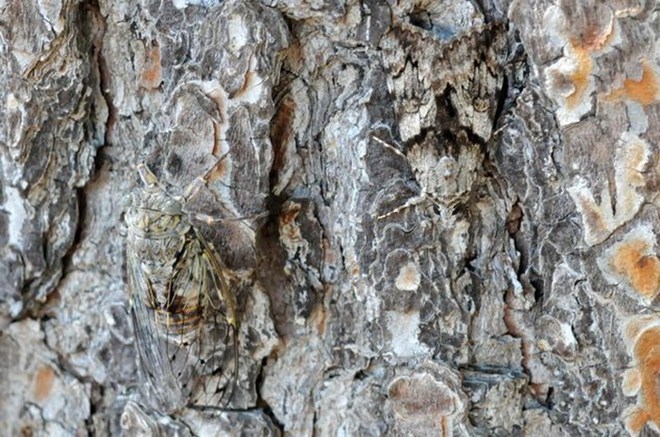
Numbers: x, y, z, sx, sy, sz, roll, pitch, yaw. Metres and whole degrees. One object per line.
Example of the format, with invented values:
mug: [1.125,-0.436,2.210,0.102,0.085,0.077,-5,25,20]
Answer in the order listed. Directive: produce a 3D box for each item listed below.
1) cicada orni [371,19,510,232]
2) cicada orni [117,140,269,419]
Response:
cicada orni: [0.391,-0.302,6.126,0.473,0.821,0.232,-12,34,-8]
cicada orni: [-0.502,0.205,6.274,0.524,0.898,0.237,2,16,15]
